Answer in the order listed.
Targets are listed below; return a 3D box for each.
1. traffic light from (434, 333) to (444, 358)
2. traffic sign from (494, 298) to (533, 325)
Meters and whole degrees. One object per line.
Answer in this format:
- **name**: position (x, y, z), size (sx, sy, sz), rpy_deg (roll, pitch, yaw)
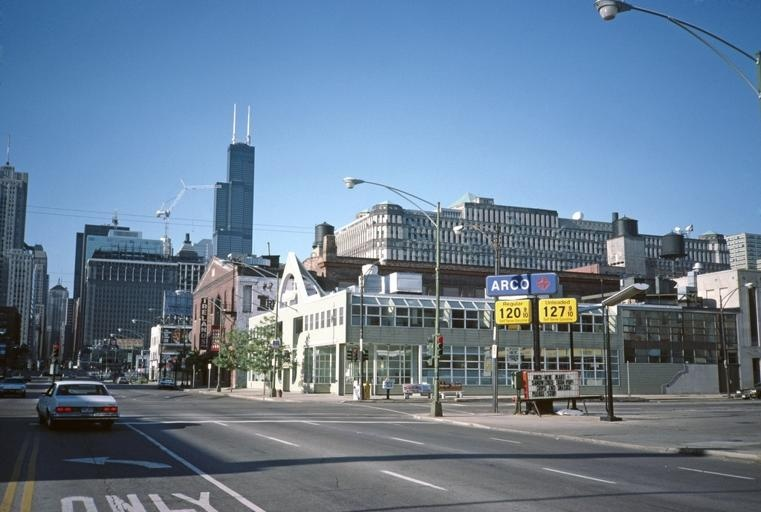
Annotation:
- **traffic light**: position (3.123, 4.737, 43.543), size (0.382, 1.174, 0.735), rpy_deg (1, -10, -8)
- **traffic sign**: position (8.033, 3.282, 48.546), size (1.895, 1.212, 0.250), rpy_deg (-2, -8, 36)
